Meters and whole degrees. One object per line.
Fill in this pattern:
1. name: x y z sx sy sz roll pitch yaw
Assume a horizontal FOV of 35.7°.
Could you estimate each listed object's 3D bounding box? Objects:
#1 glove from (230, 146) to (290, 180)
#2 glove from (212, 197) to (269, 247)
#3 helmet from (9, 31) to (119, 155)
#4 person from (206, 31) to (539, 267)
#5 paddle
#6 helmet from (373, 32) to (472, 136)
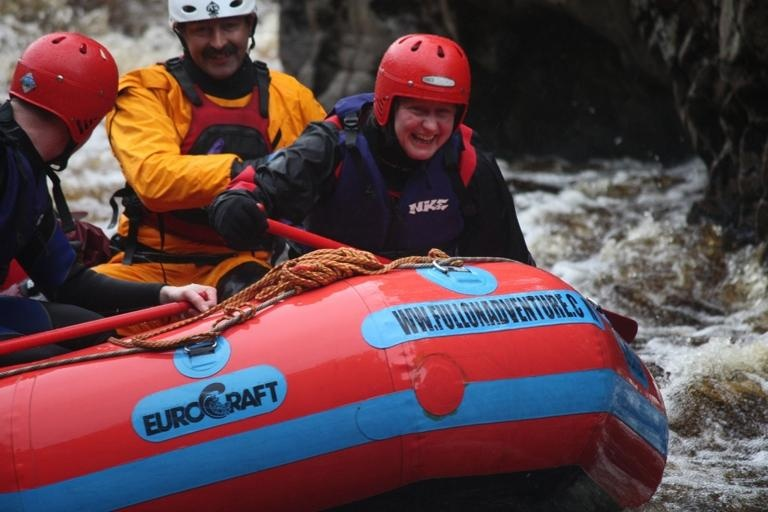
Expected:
1. glove: -0.683 -0.482 6.293 0.227 0.084 0.173 -27 8 -5
2. glove: -0.747 -0.161 6.060 0.299 0.274 0.168 -1 22 -3
3. helmet: -1.618 -0.888 6.116 0.585 0.642 0.486 19 5 -23
4. person: -0.030 -0.609 6.944 1.334 1.664 0.992 13 27 -18
5. paddle: 0.277 0.110 6.199 1.987 0.361 0.135 19 28 -1
6. helmet: 0.198 -0.921 6.298 0.393 0.408 0.525 8 19 -11
